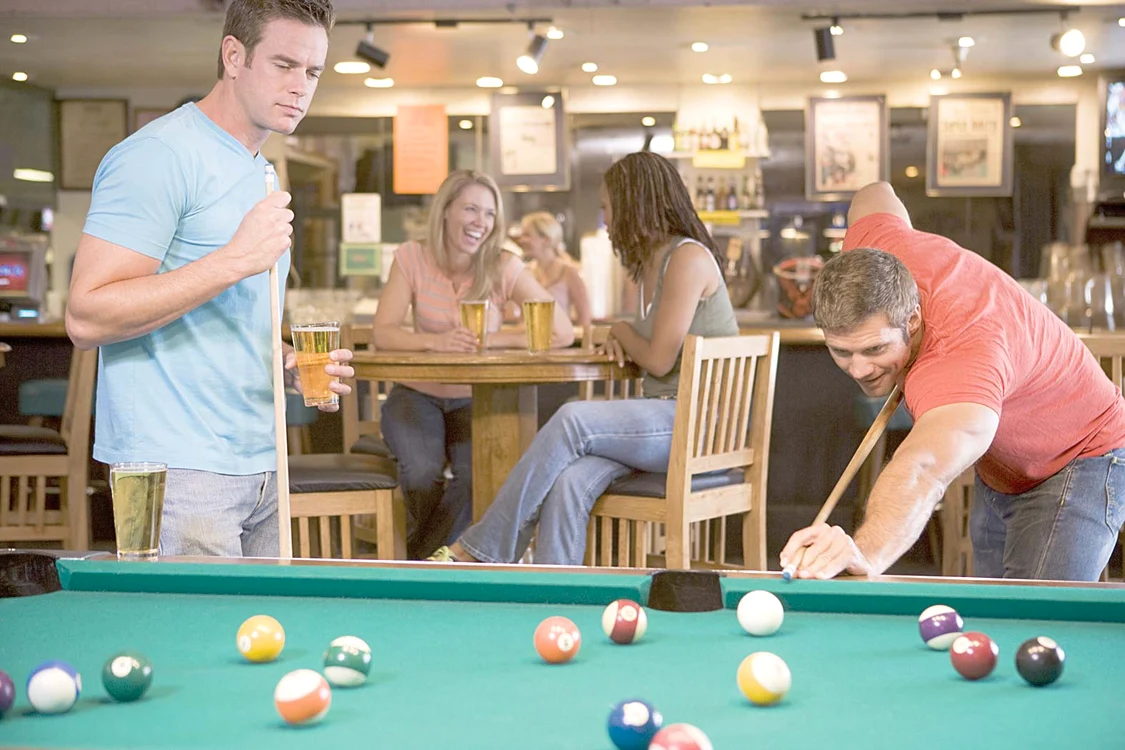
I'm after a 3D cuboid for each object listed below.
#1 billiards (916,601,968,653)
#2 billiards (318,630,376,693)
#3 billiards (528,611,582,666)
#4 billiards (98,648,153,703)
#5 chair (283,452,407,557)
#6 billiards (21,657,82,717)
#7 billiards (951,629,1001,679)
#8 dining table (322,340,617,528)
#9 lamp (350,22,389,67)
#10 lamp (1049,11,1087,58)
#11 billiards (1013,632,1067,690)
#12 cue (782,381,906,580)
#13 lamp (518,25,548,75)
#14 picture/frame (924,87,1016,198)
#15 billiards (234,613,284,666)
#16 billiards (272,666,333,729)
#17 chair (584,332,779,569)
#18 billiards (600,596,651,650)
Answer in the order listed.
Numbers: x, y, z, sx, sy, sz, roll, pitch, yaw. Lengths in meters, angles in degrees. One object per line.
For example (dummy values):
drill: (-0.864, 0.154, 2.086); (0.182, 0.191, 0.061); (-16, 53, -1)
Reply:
billiards: (0.873, 0.569, 2.832); (0.092, 0.097, 0.094); (-13, 6, 0)
billiards: (-0.472, 0.620, 2.705); (0.105, 0.108, 0.100); (4, 30, -27)
billiards: (-0.014, 0.597, 2.799); (0.095, 0.098, 0.095); (0, 4, -10)
billiards: (-0.927, 0.639, 2.598); (0.099, 0.098, 0.097); (-2, 4, -41)
chair: (-0.842, 0.483, 4.793); (0.421, 0.374, 0.418); (0, 6, -2)
billiards: (-1.078, 0.655, 2.595); (0.109, 0.104, 0.099); (-2, 2, -24)
billiards: (0.910, 0.617, 2.714); (0.103, 0.101, 0.078); (-1, 2, 17)
dining table: (-0.331, 0.173, 4.606); (0.806, 0.801, 0.709); (0, -4, 6)
lamp: (-1.104, -1.890, 7.109); (0.199, 0.242, 0.410); (-2, 1, -8)
lamp: (2.876, -1.920, 6.939); (0.167, 0.248, 0.086); (-1, 10, -2)
billiards: (1.048, 0.624, 2.681); (0.110, 0.106, 0.072); (-1, 2, 10)
cue: (1.060, 0.377, 4.581); (0.106, 0.976, 0.052); (27, 8, -43)
lamp: (-0.180, -1.879, 7.150); (0.101, 0.223, 0.204); (-3, 2, -34)
picture/frame: (2.342, -1.321, 7.050); (0.614, 0.795, 0.062); (1, -11, 5)
billiards: (-0.690, 0.584, 2.792); (0.100, 0.102, 0.097); (3, 23, -31)
billiards: (-0.542, 0.665, 2.562); (0.120, 0.106, 0.097); (-2, 1, -15)
chair: (0.464, 0.301, 4.579); (0.497, 0.882, 0.698); (0, 2, 41)
billiards: (0.142, 0.573, 2.825); (0.094, 0.095, 0.093); (5, -8, 4)
